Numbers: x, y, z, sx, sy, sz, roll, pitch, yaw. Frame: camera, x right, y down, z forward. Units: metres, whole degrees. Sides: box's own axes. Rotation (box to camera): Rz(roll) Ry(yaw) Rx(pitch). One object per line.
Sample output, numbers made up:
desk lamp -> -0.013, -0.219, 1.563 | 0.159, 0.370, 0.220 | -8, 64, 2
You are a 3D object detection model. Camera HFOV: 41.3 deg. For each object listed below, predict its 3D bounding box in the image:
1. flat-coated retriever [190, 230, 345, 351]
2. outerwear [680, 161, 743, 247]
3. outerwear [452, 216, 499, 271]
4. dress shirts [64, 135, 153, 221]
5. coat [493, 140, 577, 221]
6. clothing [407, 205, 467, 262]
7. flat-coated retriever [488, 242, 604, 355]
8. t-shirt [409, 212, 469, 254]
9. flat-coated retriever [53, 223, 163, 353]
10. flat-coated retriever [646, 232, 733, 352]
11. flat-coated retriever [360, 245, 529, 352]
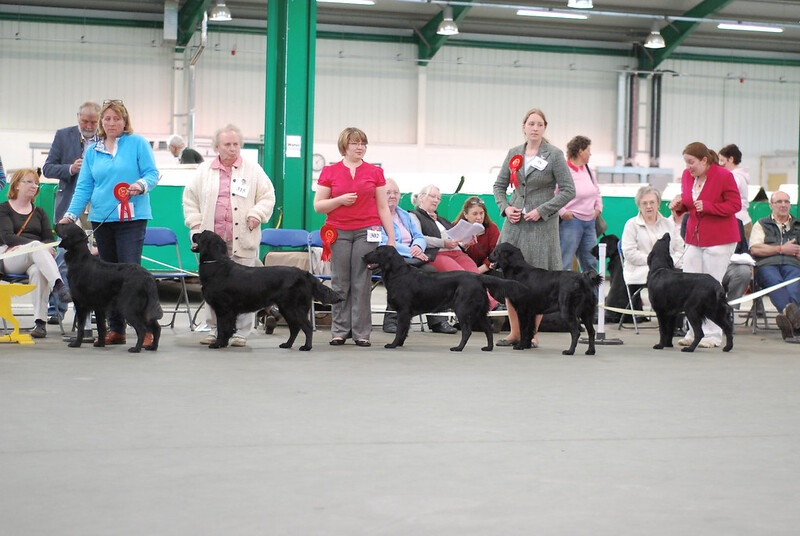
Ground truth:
flat-coated retriever -> -1.257, 0.223, 9.529 | 1.490, 1.018, 0.360 | 5, 2, 7
outerwear -> 2.934, -0.593, 10.067 | 0.547, 0.771, 0.418 | 5, 16, 17
outerwear -> 0.758, -0.237, 10.893 | 0.420, 0.476, 0.267 | 23, 2, 26
dress shirts -> -2.670, -0.826, 9.725 | 0.801, 0.817, 0.532 | -1, -11, 2
coat -> 1.243, -0.841, 9.960 | 0.791, 0.711, 0.498 | 6, 16, 21
clothing -> 0.364, -0.341, 11.064 | 0.619, 0.648, 0.362 | 10, -21, -44
flat-coated retriever -> 1.319, 0.292, 9.675 | 0.376, 0.932, 1.393 | -4, 6, -37
t-shirt -> 0.436, -0.364, 11.056 | 0.416, 0.230, 0.550 | -8, 12, -38
flat-coated retriever -> -2.595, 0.185, 9.374 | 1.143, 1.041, 0.382 | 5, 3, 23
flat-coated retriever -> 2.628, 0.250, 9.923 | 0.428, 1.023, 1.264 | -1, 2, -23
flat-coated retriever -> 0.370, 0.286, 9.647 | 1.481, 0.933, 0.315 | 2, 0, 21
